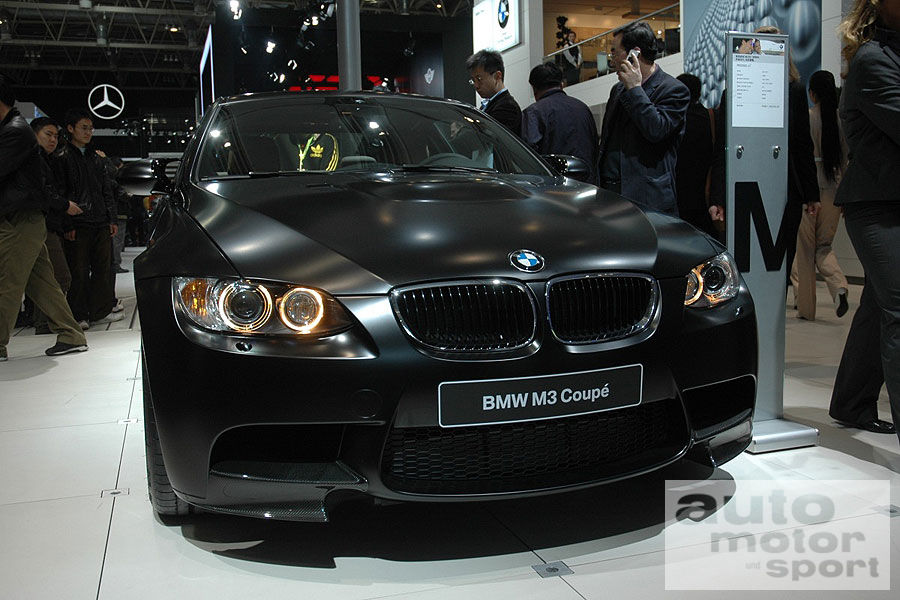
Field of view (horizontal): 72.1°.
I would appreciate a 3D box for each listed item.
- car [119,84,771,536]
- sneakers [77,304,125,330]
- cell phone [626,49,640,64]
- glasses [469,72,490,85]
[{"bbox_3d":[-0.185,-0.377,4.020,2.380,1.766,4.252,-3,11,-13],"label":"car"},{"bbox_3d":[-3.819,0.180,6.862,0.200,0.243,0.596,19,15,36],"label":"sneakers"},{"bbox_3d":[1.123,-1.499,3.804,0.059,0.093,0.148,2,10,21],"label":"cell phone"},{"bbox_3d":[0.273,-1.893,5.280,0.122,0.081,0.163,-6,5,4],"label":"glasses"}]
